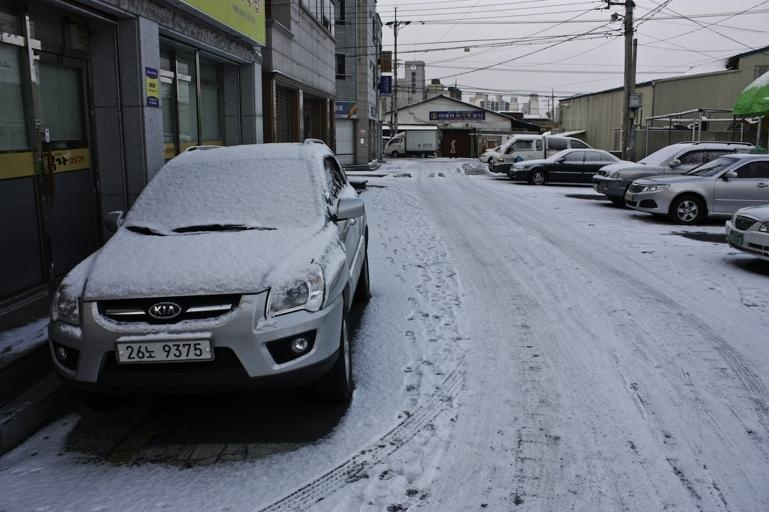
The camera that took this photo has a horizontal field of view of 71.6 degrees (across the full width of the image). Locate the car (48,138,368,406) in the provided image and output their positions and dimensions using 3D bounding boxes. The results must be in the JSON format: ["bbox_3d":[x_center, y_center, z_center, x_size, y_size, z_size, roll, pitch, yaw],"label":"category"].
[{"bbox_3d":[-1.613,0.168,5.122,2.715,2.322,2.145,-3,13,-15],"label":"car"}]

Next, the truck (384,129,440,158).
[{"bbox_3d":[2.943,-12.183,58.010,5.424,3.152,2.857,1,10,2],"label":"truck"}]
